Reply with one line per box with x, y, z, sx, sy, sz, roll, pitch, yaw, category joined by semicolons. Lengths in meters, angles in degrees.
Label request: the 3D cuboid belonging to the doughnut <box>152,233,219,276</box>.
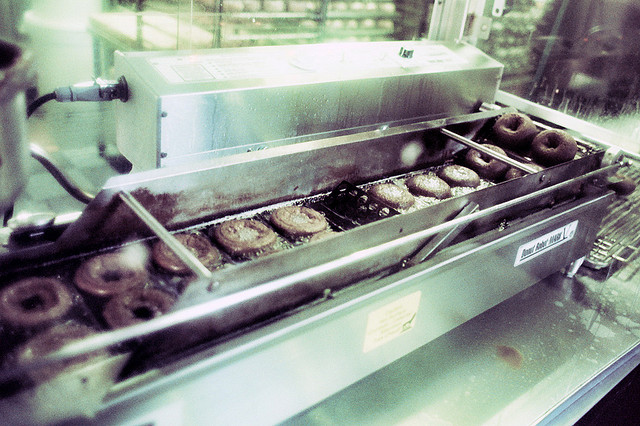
-0.508;0.150;1.722;0.222;0.059;0.220;-22;42;-34;doughnut

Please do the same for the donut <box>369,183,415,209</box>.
0.349;-0.085;2.249;0.210;0.060;0.192;20;37;21;donut

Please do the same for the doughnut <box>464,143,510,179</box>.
0.902;-0.281;2.562;0.212;0.068;0.199;-3;38;-4;doughnut

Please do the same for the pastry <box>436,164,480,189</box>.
0.741;-0.199;2.452;0.162;0.048;0.153;0;25;-4;pastry

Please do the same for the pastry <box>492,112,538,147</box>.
1.129;-0.503;2.720;0.240;0.085;0.219;-23;58;-2;pastry

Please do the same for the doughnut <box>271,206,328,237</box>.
-0.089;0.032;1.963;0.163;0.043;0.154;1;25;-17;doughnut

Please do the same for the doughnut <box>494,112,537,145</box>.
1.129;-0.493;2.677;0.210;0.072;0.199;7;55;19;doughnut

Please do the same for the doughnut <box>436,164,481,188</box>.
0.742;-0.195;2.446;0.161;0.049;0.144;29;34;28;doughnut

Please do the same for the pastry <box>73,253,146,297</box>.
-0.732;0.214;1.600;0.215;0.049;0.177;-24;43;-36;pastry

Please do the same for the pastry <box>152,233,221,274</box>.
-0.510;0.150;1.710;0.176;0.033;0.167;-16;44;-42;pastry

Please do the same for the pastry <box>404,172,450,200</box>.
0.559;-0.137;2.349;0.166;0.041;0.145;-2;34;-26;pastry

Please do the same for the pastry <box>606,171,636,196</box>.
1.652;-0.179;2.581;0.164;0.082;0.155;-6;26;-5;pastry

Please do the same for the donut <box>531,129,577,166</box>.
1.262;-0.348;2.493;0.144;0.174;0.219;-18;40;-29;donut

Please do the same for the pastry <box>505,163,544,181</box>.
1.048;-0.230;2.433;0.126;0.040;0.120;-20;28;-8;pastry

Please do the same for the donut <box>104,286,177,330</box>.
-0.600;0.307;1.518;0.146;0.044;0.138;-11;34;-29;donut

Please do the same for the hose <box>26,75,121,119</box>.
-1.102;-0.560;2.117;0.544;0.115;0.185;-9;20;-9;hose

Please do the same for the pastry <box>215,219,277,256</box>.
-0.303;0.096;1.850;0.204;0.052;0.202;27;39;29;pastry
